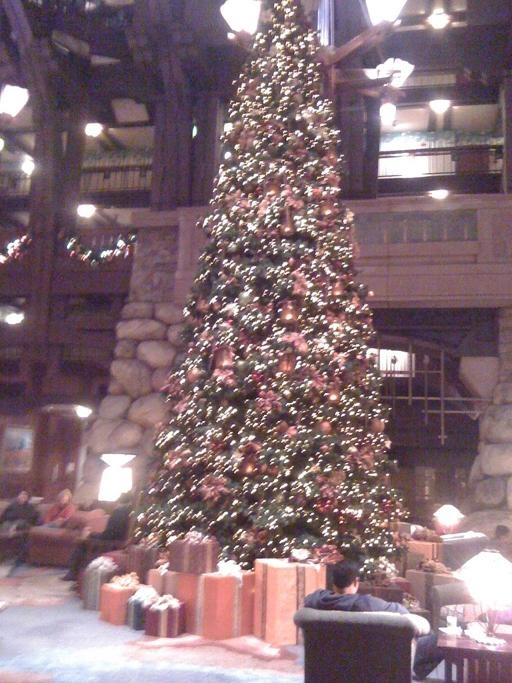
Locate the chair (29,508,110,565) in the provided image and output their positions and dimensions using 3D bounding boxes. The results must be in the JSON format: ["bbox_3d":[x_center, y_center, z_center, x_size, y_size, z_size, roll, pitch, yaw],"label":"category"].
[{"bbox_3d":[-2.441,2.459,10.446,0.956,0.773,0.955,2,-17,7],"label":"chair"}]
